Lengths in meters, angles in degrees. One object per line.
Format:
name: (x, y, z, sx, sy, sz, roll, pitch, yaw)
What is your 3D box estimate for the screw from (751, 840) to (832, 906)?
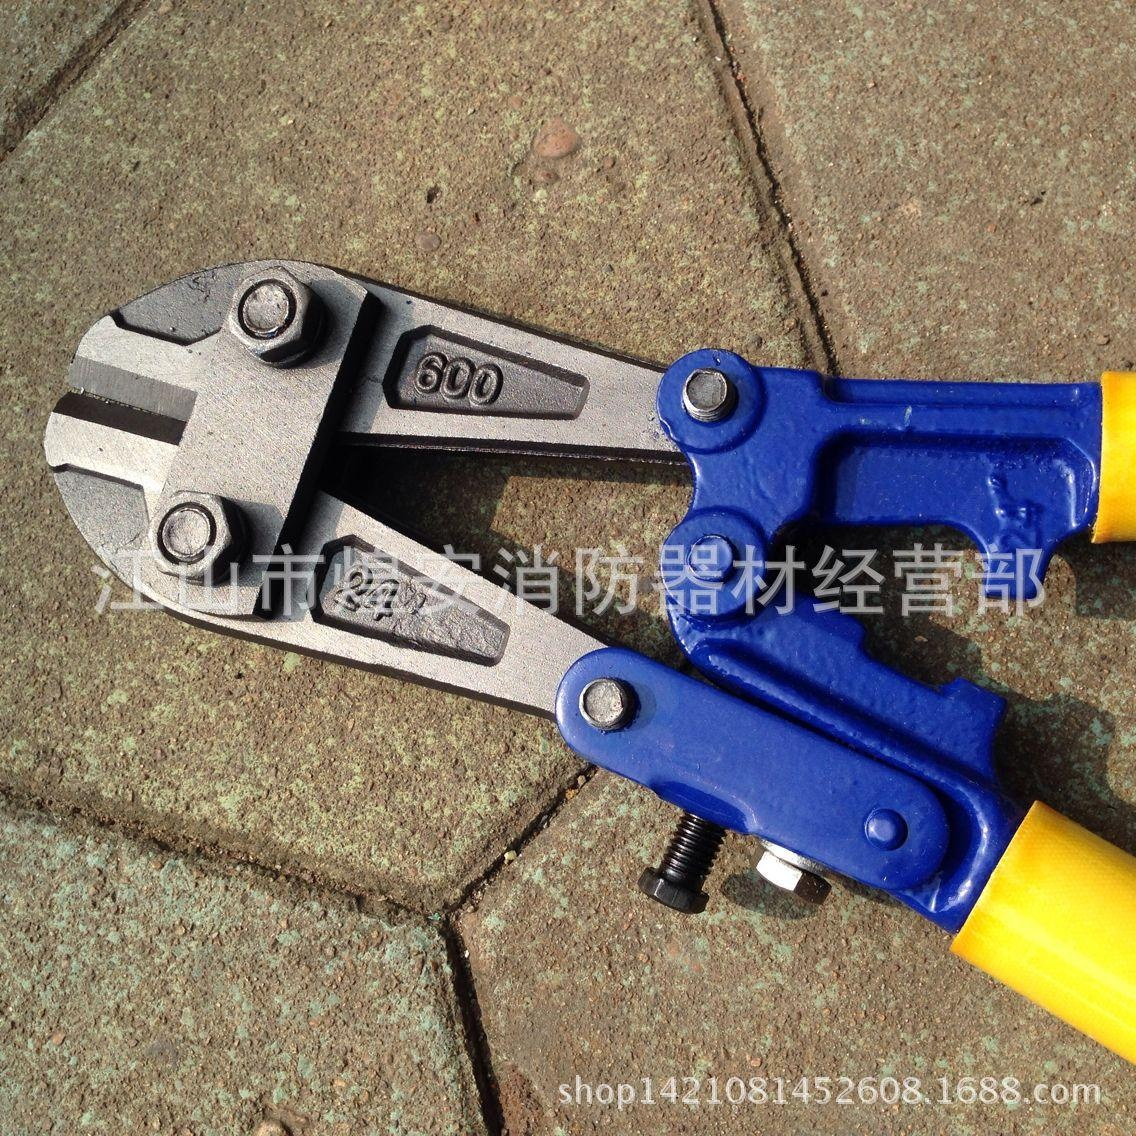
screw: (0.272, 0.370, 1.604, 0.086, 0.024, 0.065, 38, 49, 8)

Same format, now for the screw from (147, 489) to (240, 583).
screw: (-0.468, -0.041, 1.657, 0.093, 0.043, 0.114, 3, 87, 7)

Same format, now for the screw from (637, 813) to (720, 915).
screw: (0.140, 0.356, 1.620, 0.083, 0.054, 0.114, 19, 88, 2)

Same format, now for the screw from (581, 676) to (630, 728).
screw: (0.046, 0.163, 1.585, 0.064, 0.019, 0.060, 5, 88, 1)
